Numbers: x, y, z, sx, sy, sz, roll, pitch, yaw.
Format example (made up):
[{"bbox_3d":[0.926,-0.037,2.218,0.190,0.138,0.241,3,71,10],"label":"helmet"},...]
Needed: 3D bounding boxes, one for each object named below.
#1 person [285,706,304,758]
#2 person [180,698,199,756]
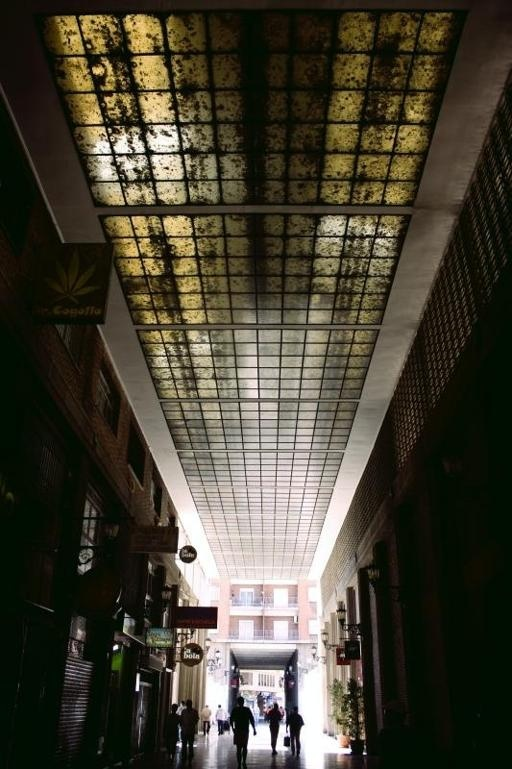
[{"bbox_3d":[1.143,10.591,14.137,0.447,1.345,0.389,-2,-8,15],"label":"person"},{"bbox_3d":[-1.611,8.199,10.919,0.417,1.200,1.254,6,-29,-5],"label":"person"}]
